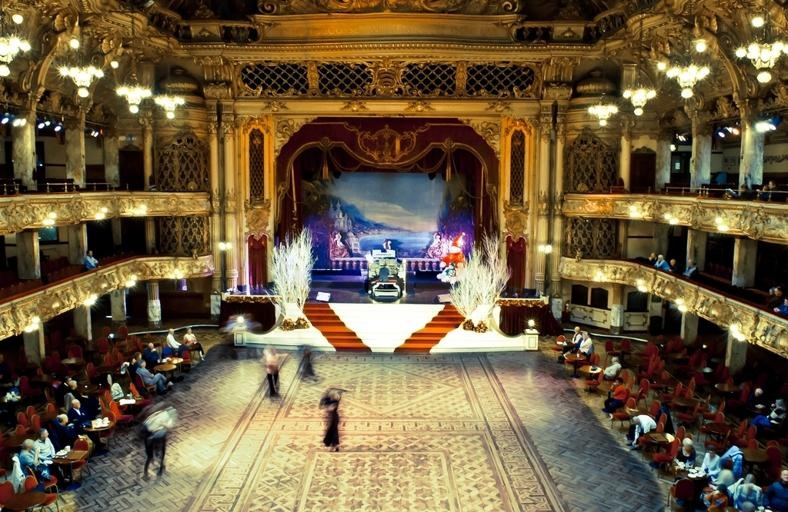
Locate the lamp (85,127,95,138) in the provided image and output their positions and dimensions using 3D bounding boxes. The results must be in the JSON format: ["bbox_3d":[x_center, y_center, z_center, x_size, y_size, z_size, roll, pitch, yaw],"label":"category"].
[{"bbox_3d":[-16.605,-6.800,28.273,0.422,0.376,0.692,-1,2,13],"label":"lamp"}]

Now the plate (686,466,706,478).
[{"bbox_3d":[8.639,6.179,14.735,0.284,0.065,0.284,0,14,19],"label":"plate"}]

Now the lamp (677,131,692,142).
[{"bbox_3d":[15.914,-6.510,28.381,0.660,0.171,0.581,1,-11,0],"label":"lamp"}]

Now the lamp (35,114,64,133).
[{"bbox_3d":[-16.846,-6.557,25.193,1.141,0.274,1.146,-14,-5,41],"label":"lamp"}]

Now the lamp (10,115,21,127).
[{"bbox_3d":[-15.426,-5.530,21.072,0.378,0.377,0.091,16,-2,2],"label":"lamp"}]

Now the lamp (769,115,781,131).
[{"bbox_3d":[15.812,-5.591,21.438,0.264,0.486,2.202,12,18,38],"label":"lamp"}]

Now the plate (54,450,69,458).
[{"bbox_3d":[-9.724,5.774,15.073,0.364,0.103,0.282,-2,14,-10],"label":"plate"}]
